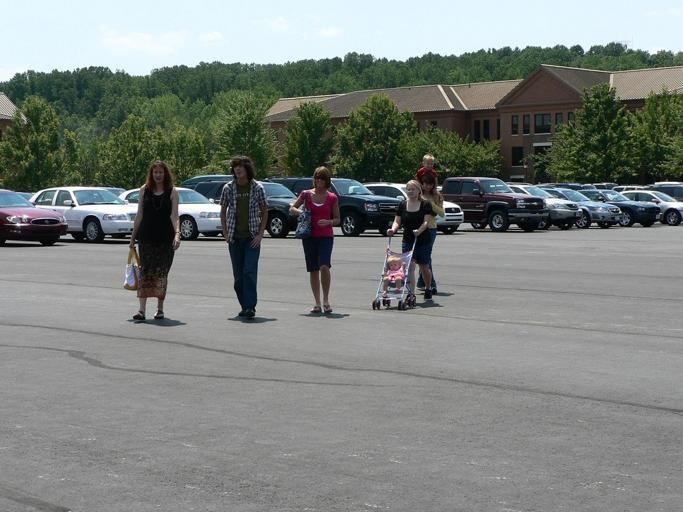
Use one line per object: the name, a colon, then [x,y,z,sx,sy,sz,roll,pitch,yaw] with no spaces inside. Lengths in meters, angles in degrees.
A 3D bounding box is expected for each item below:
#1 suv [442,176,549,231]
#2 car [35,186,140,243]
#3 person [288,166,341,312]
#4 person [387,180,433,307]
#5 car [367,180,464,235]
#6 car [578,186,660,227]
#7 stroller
suv: [6.821,-2.383,33.666,4.684,2.139,2.352,4,5,43]
car: [-8.964,-1.610,26.843,4.839,1.886,2.056,1,3,35]
person: [-0.430,-0.243,11.339,0.629,2.199,0.650,0,1,23]
person: [1.169,-0.236,12.764,0.725,2.156,0.809,0,3,12]
car: [3.054,-2.183,32.073,2.057,2.133,4.391,-4,5,-43]
car: [14.825,-2.546,40.280,4.338,1.733,1.919,1,2,38]
stroller: [0.863,0.260,12.040,0.574,1.258,0.936,0,3,-1]
